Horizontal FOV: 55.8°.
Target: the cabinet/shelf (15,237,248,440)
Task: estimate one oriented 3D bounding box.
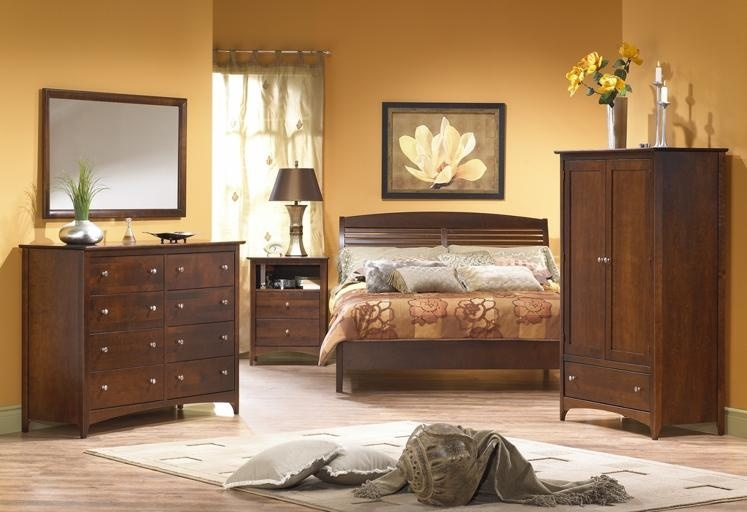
[{"bbox_3d":[-1.789,0.602,5.410,0.662,1.310,1.497,-1,-1,30],"label":"cabinet/shelf"}]

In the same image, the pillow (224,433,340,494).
[{"bbox_3d":[-0.549,1.204,4.022,0.517,0.150,0.511,-11,-5,8],"label":"pillow"}]

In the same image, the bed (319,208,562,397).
[{"bbox_3d":[0.634,0.402,6.856,1.931,1.112,1.850,0,2,-1],"label":"bed"}]

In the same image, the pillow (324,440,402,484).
[{"bbox_3d":[-0.076,1.158,3.905,0.254,0.083,0.258,0,3,43],"label":"pillow"}]

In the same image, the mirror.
[{"bbox_3d":[-2.030,-0.788,5.366,1.173,0.922,0.048,-1,0,-38],"label":"mirror"}]

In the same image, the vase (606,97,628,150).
[{"bbox_3d":[1.865,-0.994,5.241,0.176,0.380,0.175,5,8,27],"label":"vase"}]

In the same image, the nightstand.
[{"bbox_3d":[-0.879,0.542,7.408,0.857,0.994,0.559,0,-1,2],"label":"nightstand"}]

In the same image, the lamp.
[{"bbox_3d":[-0.818,-0.500,7.409,0.540,0.998,0.522,-1,3,-8],"label":"lamp"}]

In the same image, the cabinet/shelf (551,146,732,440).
[{"bbox_3d":[1.870,0.236,4.961,1.136,1.982,0.429,1,4,25],"label":"cabinet/shelf"}]

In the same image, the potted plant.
[{"bbox_3d":[-2.100,-0.377,5.071,0.306,0.586,0.315,-1,11,-5],"label":"potted plant"}]

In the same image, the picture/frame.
[{"bbox_3d":[0.711,-1.165,7.700,1.152,0.897,0.042,0,-1,-1],"label":"picture/frame"}]
